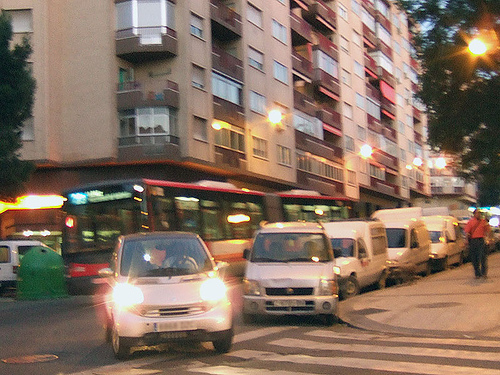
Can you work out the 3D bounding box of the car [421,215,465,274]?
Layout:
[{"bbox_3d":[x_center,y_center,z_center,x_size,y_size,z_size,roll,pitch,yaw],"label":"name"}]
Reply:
[{"bbox_3d":[8.153,2.339,25.970,1.702,1.559,2.982,-4,-7,25],"label":"car"}]

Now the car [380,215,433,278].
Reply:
[{"bbox_3d":[5.727,2.156,22.205,1.620,1.441,2.737,-4,-6,29],"label":"car"}]

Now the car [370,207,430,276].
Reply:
[{"bbox_3d":[5.480,2.189,23.365,2.471,2.928,4.993,-4,-4,25],"label":"car"}]

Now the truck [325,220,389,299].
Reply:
[{"bbox_3d":[2.954,2.232,19.366,2.184,2.381,4.285,-2,-2,30],"label":"truck"}]

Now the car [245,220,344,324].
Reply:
[{"bbox_3d":[1.029,1.842,13.808,1.438,1.468,2.799,-1,-11,1],"label":"car"}]

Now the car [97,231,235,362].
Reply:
[{"bbox_3d":[-1.772,1.971,12.108,2.250,2.087,4.101,-1,-2,-19],"label":"car"}]

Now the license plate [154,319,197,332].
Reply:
[{"bbox_3d":[-1.249,2.326,10.167,0.715,0.184,0.043,-1,-4,-11],"label":"license plate"}]

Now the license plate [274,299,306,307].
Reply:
[{"bbox_3d":[0.896,2.558,13.326,0.690,0.161,0.074,-2,-4,0],"label":"license plate"}]

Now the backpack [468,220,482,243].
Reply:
[{"bbox_3d":[6.792,1.290,18.256,0.220,0.579,0.487,1,-5,-28],"label":"backpack"}]

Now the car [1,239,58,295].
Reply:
[{"bbox_3d":[-9.022,2.944,23.659,1.694,1.662,2.854,-3,-8,18],"label":"car"}]
